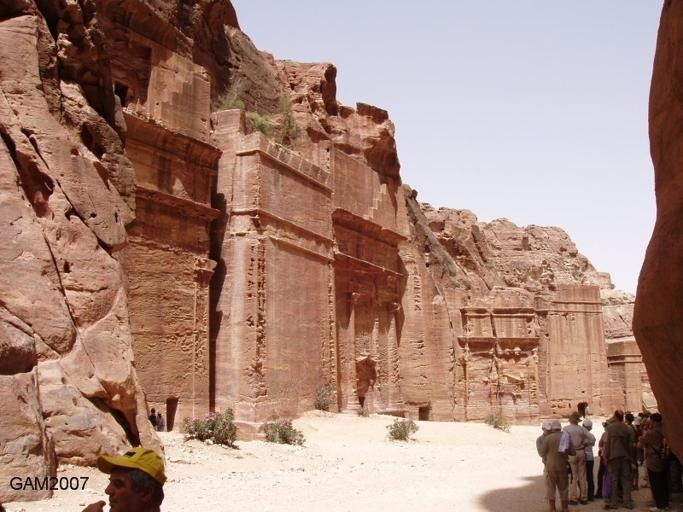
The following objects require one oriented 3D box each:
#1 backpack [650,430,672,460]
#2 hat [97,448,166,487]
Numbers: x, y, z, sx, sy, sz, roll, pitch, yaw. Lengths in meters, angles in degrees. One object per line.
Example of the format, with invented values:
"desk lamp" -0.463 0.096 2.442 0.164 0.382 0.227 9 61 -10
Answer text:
"backpack" 5.159 3.031 13.158 0.228 0.453 0.247 11 -22 -41
"hat" -1.940 1.965 7.736 0.596 0.211 0.344 12 -13 -8
